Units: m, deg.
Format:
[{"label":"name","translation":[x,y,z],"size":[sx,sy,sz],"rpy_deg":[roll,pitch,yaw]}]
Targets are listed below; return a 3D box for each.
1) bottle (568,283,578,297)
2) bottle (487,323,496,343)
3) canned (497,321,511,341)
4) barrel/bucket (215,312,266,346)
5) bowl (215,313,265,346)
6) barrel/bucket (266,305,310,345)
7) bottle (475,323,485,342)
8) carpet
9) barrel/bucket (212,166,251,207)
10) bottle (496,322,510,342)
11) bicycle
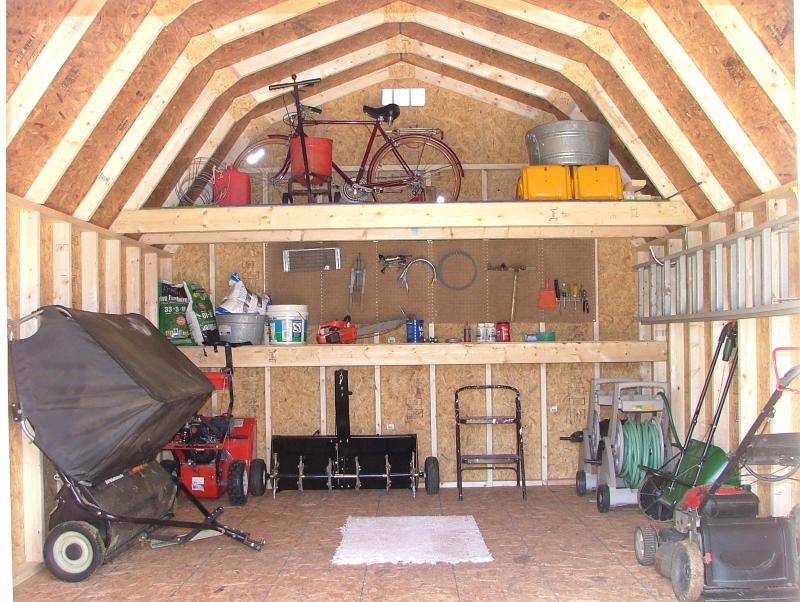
[{"label":"bottle","translation":[1.772,-0.099,10.138],"size":[0.098,0.157,0.097],"rpy_deg":[2,4,0]},{"label":"bottle","translation":[0.910,0.305,10.001],"size":[0.119,0.251,0.135],"rpy_deg":[0,-4,-2]},{"label":"canned","translation":[1.036,0.294,9.949],"size":[0.148,0.317,0.171],"rpy_deg":[-1,-3,10]},{"label":"barrel/bucket","translation":[-1.538,0.266,9.707],"size":[0.354,0.253,0.303],"rpy_deg":[-2,-2,-1]},{"label":"bowl","translation":[-1.544,0.270,9.732],"size":[0.354,0.262,0.303],"rpy_deg":[-2,-2,7]},{"label":"barrel/bucket","translation":[-1.090,0.223,9.696],"size":[0.339,0.336,0.364],"rpy_deg":[-1,-3,0]},{"label":"bottle","translation":[0.810,0.315,10.028],"size":[0.118,0.247,0.131],"rpy_deg":[-1,-3,30]},{"label":"carpet","translation":[0.102,2.002,8.345],"size":[1.294,0.243,0.843],"rpy_deg":[1,-6,-1]},{"label":"barrel/bucket","translation":[-1.613,-1.076,9.500],"size":[0.215,0.279,0.404],"rpy_deg":[4,12,6]},{"label":"bottle","translation":[1.033,0.303,9.949],"size":[0.149,0.317,0.171],"rpy_deg":[-1,-4,11]},{"label":"bicycle","translation":[-0.369,-1.540,10.106],"size":[1.996,1.474,1.072],"rpy_deg":[1,-5,-2]}]
